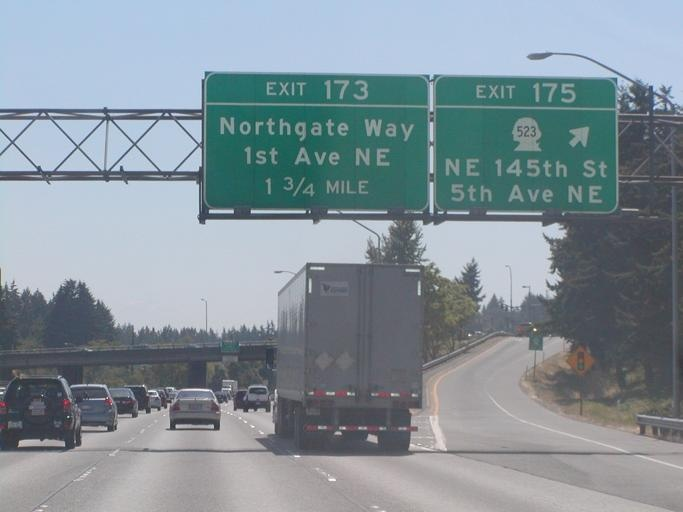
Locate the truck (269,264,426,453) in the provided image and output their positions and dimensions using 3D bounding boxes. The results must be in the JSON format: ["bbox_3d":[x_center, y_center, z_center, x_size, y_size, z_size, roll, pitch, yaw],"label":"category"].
[{"bbox_3d":[0.045,4.060,57.345,4.034,7.153,5.918,2,-6,-27],"label":"truck"}]

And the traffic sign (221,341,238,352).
[{"bbox_3d":[-10.251,8.586,138.528,1.830,0.984,1.580,0,-7,-15],"label":"traffic sign"}]
